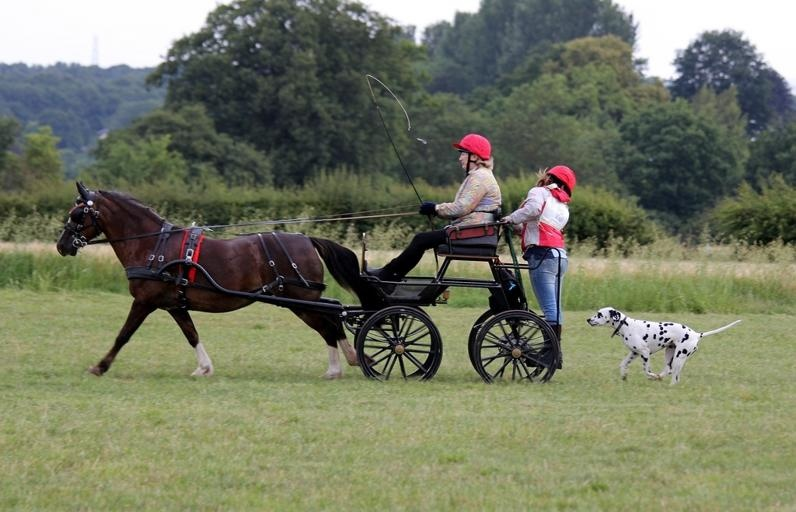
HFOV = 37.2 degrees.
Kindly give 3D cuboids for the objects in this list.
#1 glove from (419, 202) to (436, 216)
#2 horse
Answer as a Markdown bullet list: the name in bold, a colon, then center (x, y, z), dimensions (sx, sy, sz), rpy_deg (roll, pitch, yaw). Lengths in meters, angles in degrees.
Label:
- **glove**: center (0.747, -1.140, 28.814), dimensions (0.411, 0.336, 0.736), rpy_deg (2, 1, -1)
- **horse**: center (-6.144, 0.187, 32.200), dimensions (12.391, 6.197, 2.961), rpy_deg (3, -2, 3)
